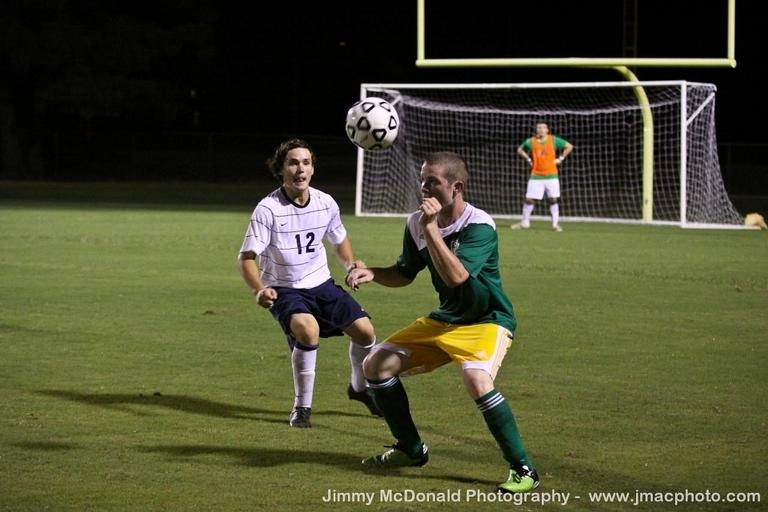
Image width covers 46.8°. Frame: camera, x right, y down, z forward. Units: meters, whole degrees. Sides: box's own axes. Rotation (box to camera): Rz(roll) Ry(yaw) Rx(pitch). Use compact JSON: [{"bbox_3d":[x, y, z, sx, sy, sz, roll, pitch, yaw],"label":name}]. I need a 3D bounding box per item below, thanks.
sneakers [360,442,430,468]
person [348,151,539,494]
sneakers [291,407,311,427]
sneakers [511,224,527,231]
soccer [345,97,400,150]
[{"bbox_3d":[0.094,1.537,6.945,0.548,0.201,0.192,3,-8,2],"label":"sneakers"},{"bbox_3d":[0.481,0.433,6.826,1.537,2.404,0.962,4,12,14],"label":"person"},{"bbox_3d":[-0.728,1.356,7.605,0.180,0.145,0.244,0,12,-5],"label":"sneakers"},{"bbox_3d":[2.890,-0.622,19.055,0.380,0.152,0.134,3,11,-1],"label":"sneakers"},{"bbox_3d":[-0.127,-1.355,9.284,0.536,0.530,0.660,0,12,-1],"label":"soccer"}]
